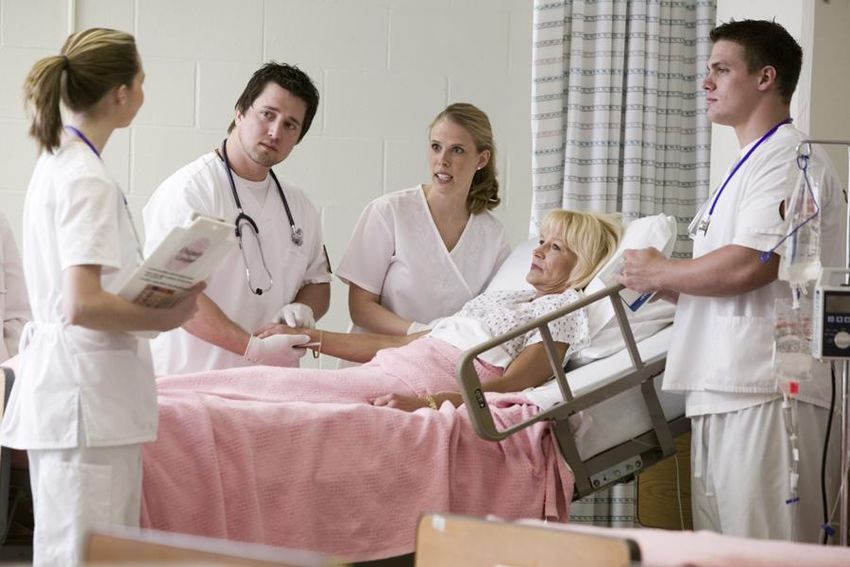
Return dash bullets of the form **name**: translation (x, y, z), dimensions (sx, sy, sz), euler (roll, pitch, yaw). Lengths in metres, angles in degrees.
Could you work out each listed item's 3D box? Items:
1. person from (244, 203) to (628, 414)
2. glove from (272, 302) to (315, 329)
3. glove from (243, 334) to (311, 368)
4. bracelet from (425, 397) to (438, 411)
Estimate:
- **person**: translation (0.111, 0.091, 3.519), dimensions (1.149, 0.664, 0.672), euler (0, -2, -15)
- **glove**: translation (-0.487, 0.121, 3.604), dimensions (0.116, 0.050, 0.087), euler (10, 7, -21)
- **glove**: translation (-0.541, 0.238, 3.484), dimensions (0.213, 0.116, 0.078), euler (1, -11, -1)
- **bracelet**: translation (0.021, 0.390, 3.126), dimensions (0.011, 0.038, 0.028), euler (-39, -3, 22)
